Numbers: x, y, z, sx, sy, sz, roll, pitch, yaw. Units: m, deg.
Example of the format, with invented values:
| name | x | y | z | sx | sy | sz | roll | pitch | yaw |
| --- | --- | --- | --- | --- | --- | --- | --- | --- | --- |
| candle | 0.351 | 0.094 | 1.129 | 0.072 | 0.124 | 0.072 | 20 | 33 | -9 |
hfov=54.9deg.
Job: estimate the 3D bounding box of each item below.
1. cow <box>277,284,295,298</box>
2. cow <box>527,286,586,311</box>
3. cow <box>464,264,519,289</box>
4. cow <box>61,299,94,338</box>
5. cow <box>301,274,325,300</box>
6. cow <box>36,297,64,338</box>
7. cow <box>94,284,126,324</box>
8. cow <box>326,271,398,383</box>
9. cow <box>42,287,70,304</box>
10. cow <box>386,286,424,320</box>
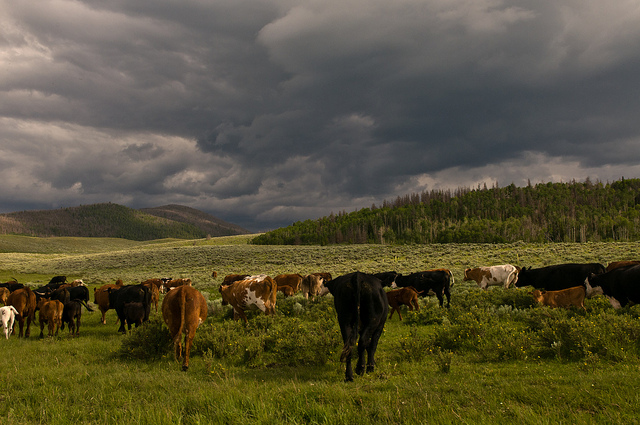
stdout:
| name | x | y | z | sx | sy | sz | roll | pitch | yaw |
| --- | --- | --- | --- | --- | --- | --- | --- | --- | --- |
| cow | -2.445 | 5.813 | 45.967 | 1.097 | 0.924 | 1.224 | 2 | -7 | -25 |
| cow | 15.344 | 5.302 | 39.369 | 2.563 | 1.571 | 2.504 | -11 | -25 | 23 |
| cow | 13.522 | 5.113 | 48.484 | 4.814 | 2.739 | 1.512 | -2 | -12 | 26 |
| cow | -16.926 | 6.930 | 41.834 | 1.159 | 2.407 | 4.006 | -2 | -1 | -37 |
| cow | -0.615 | 5.465 | 46.194 | 1.464 | 1.581 | 0.892 | 0 | -6 | -3 |
| cow | -17.818 | 7.002 | 40.772 | 1.840 | 2.415 | 1.169 | -6 | -8 | 43 |
| cow | -14.761 | 6.426 | 43.432 | 4.242 | 2.589 | 1.133 | -9 | -3 | 42 |
| cow | 2.313 | 6.448 | 38.357 | 3.367 | 5.739 | 10.412 | -1 | -1 | 1 |
| cow | -18.308 | 5.768 | 43.127 | 2.331 | 1.353 | 0.879 | 2 | -6 | 37 |
| cow | 5.402 | 6.272 | 42.164 | 0.841 | 2.342 | 3.554 | 16 | -23 | -38 |
